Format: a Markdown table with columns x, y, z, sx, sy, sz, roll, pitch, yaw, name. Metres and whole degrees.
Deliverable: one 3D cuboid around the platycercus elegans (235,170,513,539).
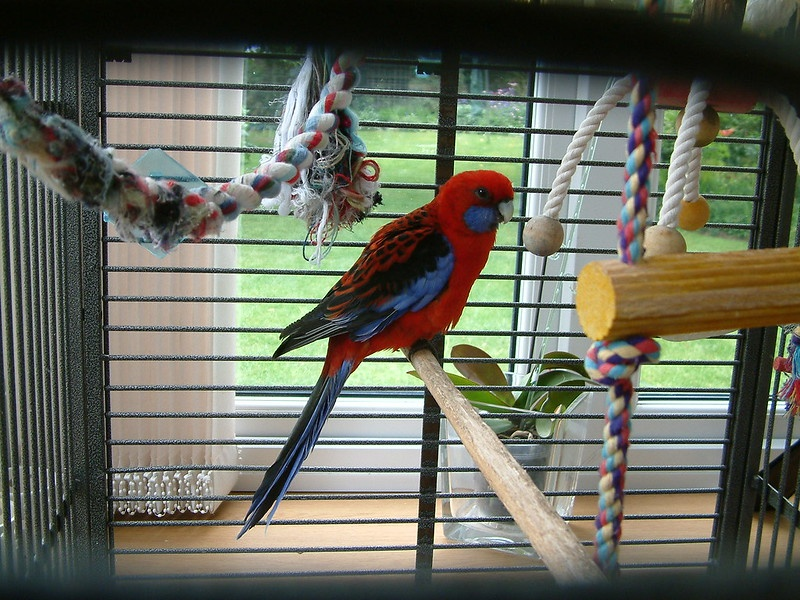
| x | y | z | sx | sy | sz | roll | pitch | yaw | name |
| --- | --- | --- | --- | --- | --- | --- | --- | --- | --- |
| 0.057 | -0.010 | 2.213 | 0.869 | 1.181 | 0.349 | -1 | 2 | -9 | platycercus elegans |
